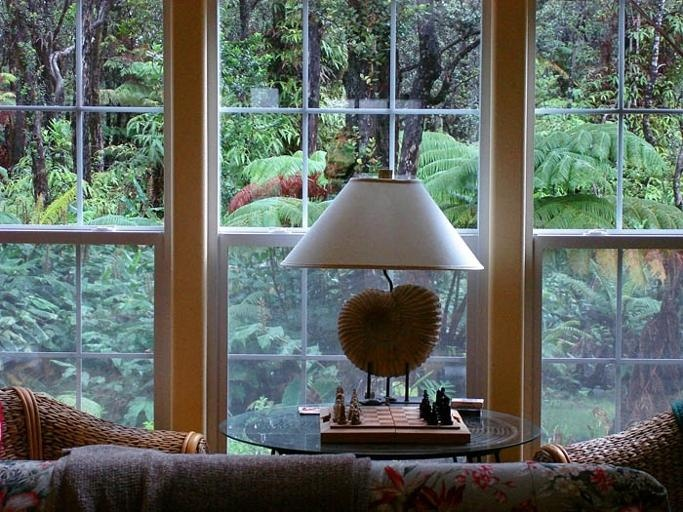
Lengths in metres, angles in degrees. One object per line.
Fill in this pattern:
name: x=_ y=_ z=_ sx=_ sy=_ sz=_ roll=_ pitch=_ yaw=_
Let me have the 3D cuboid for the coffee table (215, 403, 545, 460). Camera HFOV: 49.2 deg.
coffee table: x=0.157 y=0.582 z=2.482 sx=0.623 sy=0.124 sz=0.778 roll=13 pitch=2 yaw=-36

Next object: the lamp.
lamp: x=0.188 y=0.143 z=2.790 sx=0.721 sy=0.954 sz=0.924 roll=0 pitch=-4 yaw=8
